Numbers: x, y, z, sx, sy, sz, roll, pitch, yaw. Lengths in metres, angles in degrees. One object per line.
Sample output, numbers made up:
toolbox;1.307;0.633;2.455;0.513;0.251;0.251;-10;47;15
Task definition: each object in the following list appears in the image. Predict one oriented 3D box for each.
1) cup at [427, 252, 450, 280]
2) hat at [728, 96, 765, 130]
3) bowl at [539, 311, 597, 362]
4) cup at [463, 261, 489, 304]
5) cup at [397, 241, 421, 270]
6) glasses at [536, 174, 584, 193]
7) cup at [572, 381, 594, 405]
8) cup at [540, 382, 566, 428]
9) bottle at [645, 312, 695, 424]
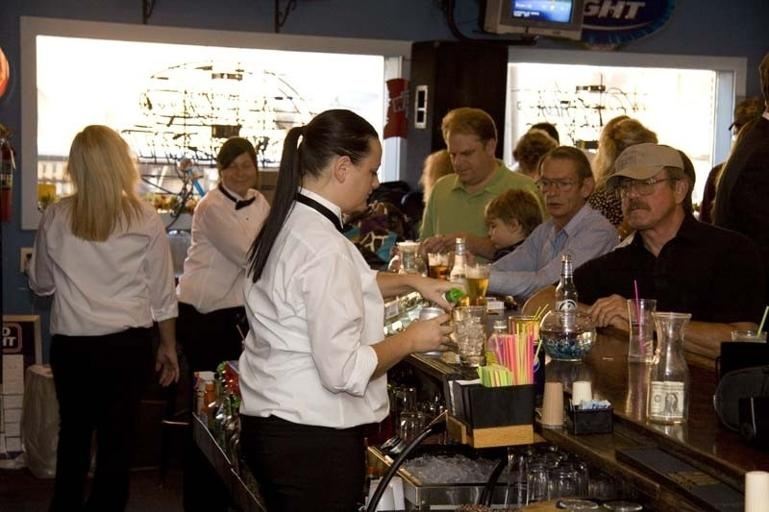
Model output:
cup;0.282;0.049;3.285;0.116;0.131;0.122;1;-8;0
hat;2.815;-1.102;4.987;0.193;0.249;0.596;5;8;28
bowl;0.717;0.321;2.550;0.212;0.191;0.215;-1;-5;0
cup;0.402;0.126;2.796;0.099;0.171;0.377;2;7;8
cup;0.131;0.001;3.331;0.155;0.154;0.123;0;1;-40
glasses;1.064;-0.426;3.879;0.242;0.090;0.088;3;8;16
cup;0.624;0.434;2.045;0.067;0.061;0.066;1;-3;0
cup;0.557;0.481;2.088;0.094;0.143;0.083;-1;8;-13
bottle;0.902;0.339;2.036;0.118;0.298;0.289;4;8;24
